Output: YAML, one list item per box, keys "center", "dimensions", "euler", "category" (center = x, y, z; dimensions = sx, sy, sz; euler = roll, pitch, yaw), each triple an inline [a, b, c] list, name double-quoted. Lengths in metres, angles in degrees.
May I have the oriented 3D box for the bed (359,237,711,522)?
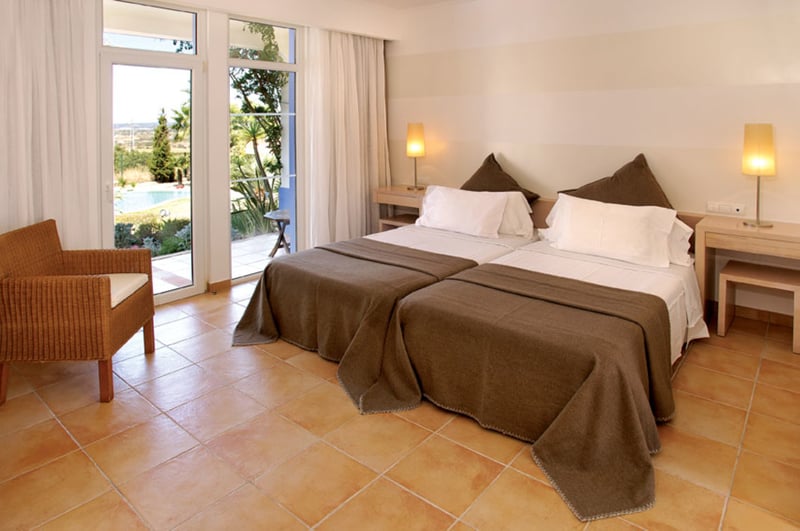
- center: [1.103, 0.656, 4.027]
  dimensions: [1.986, 0.983, 2.088]
  euler: [11, 20, 34]
  category: "bed"

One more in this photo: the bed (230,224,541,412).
- center: [-0.077, 0.285, 4.777]
  dimensions: [1.398, 0.523, 2.009]
  euler: [7, 12, 37]
  category: "bed"

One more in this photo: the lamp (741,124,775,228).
- center: [3.187, -0.795, 4.578]
  dimensions: [0.329, 0.873, 0.438]
  euler: [9, 20, 31]
  category: "lamp"
